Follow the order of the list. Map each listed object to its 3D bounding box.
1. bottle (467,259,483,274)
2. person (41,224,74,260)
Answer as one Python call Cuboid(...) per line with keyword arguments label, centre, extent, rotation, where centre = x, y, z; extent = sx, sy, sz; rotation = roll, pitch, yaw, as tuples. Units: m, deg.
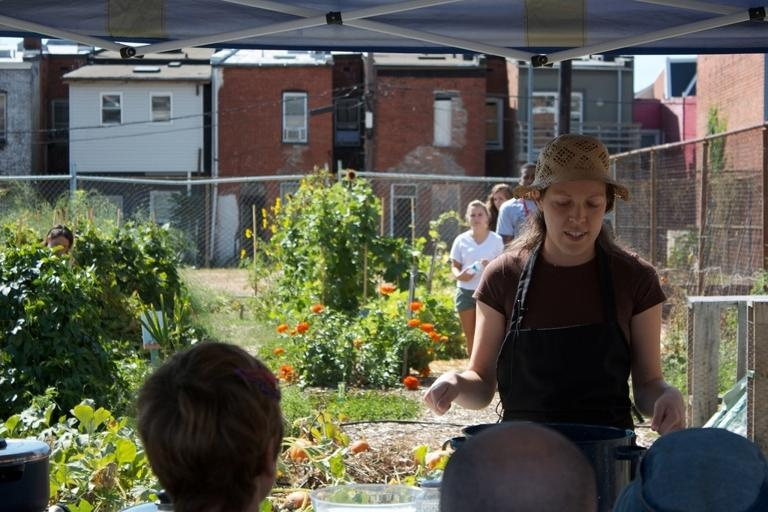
Cuboid(label="bottle", centre=(1.022, 0.114, 12.749), extent=(0.124, 0.144, 0.137), rotation=(-5, 5, 19))
Cuboid(label="person", centre=(-3.712, -0.182, 13.189), extent=(0.317, 0.372, 0.749), rotation=(1, 1, -22))
